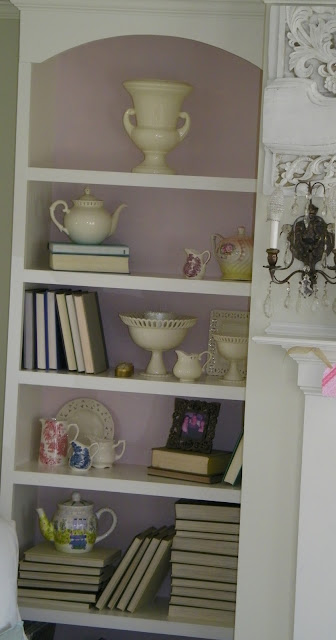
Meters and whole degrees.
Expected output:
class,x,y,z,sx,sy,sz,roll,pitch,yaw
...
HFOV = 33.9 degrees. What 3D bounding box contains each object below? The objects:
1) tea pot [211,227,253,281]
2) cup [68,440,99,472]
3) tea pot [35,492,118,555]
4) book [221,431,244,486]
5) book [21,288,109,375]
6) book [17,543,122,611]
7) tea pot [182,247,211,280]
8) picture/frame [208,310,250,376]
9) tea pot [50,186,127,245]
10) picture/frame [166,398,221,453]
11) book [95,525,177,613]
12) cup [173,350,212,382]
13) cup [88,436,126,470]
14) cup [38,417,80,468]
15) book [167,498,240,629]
class,x,y,z,sx,sy,sz,roll,pitch,yaw
tea pot,0.210,-0.214,1.776,0.162,0.169,0.124,8,15,31
cup,-0.278,0.458,1.854,0.107,0.119,0.079,3,-8,0
tea pot,-0.310,0.688,1.871,0.255,0.198,0.153,6,-14,-20
book,0.203,0.428,1.677,0.028,0.129,0.124,5,15,13
book,-0.331,0.035,1.963,0.242,0.347,0.327,1,0,11
book,-0.315,0.799,1.802,0.197,0.099,0.178,1,-7,14
tea pot,0.089,-0.187,1.803,0.110,0.124,0.080,6,5,12
picture/frame,0.210,0.084,1.865,0.212,0.262,0.016,-1,-8,37
tea pot,-0.274,-0.347,1.820,0.247,0.194,0.166,-3,14,-17
picture/frame,0.085,0.347,1.819,0.155,0.172,0.012,2,-34,17
book,-0.109,0.803,1.744,0.055,0.250,0.238,16,15,19
cup,0.079,0.151,1.815,0.114,0.100,0.088,3,-6,1
cup,-0.206,0.469,1.934,0.129,0.115,0.085,1,-7,-3
cup,-0.368,0.419,1.886,0.146,0.155,0.089,3,-15,-18
book,0.110,0.744,1.784,0.274,0.434,0.304,2,0,8
